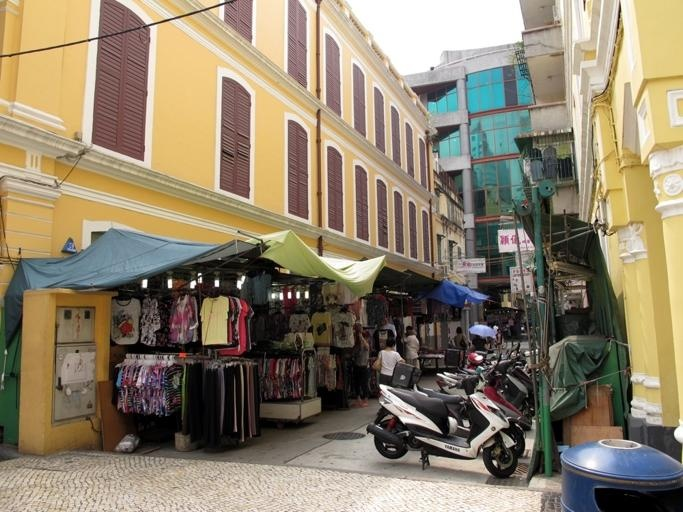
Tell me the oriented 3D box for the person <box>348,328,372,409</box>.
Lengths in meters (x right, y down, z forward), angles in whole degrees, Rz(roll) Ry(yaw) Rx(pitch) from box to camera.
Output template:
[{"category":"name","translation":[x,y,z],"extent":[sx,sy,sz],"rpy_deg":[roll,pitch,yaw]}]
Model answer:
[{"category":"person","translation":[0.445,2.604,13.992],"extent":[0.550,1.907,0.529],"rpy_deg":[-2,0,42]}]

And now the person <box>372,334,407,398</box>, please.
[{"category":"person","translation":[1.010,2.558,12.683],"extent":[0.715,1.719,0.516],"rpy_deg":[3,12,10]}]
